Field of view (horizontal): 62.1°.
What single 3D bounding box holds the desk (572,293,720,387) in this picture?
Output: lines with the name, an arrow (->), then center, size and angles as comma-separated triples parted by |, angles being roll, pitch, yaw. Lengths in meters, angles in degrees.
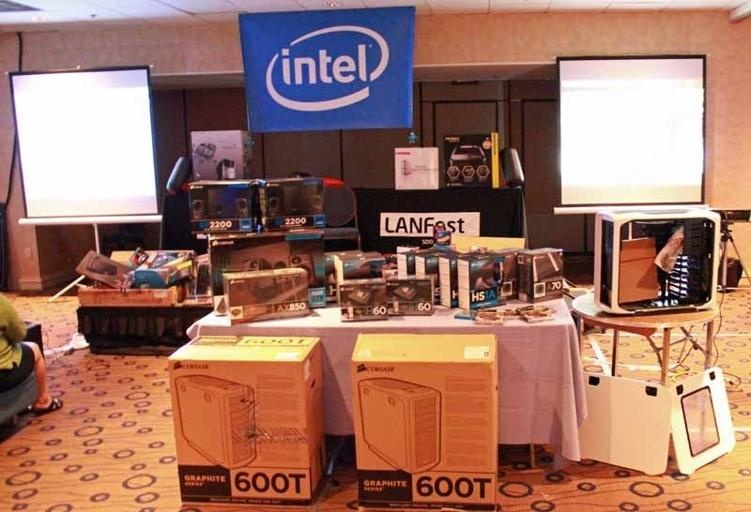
desk -> 2.072, 0.512, 4.734 | 1.052, 0.548, 1.002 | -1, 5, 4

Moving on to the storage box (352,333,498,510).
storage box -> 0.337, 1.093, 4.077 | 1.135, 1.201, 0.708 | 1, 11, 7

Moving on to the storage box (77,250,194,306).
storage box -> -2.462, 0.259, 6.450 | 0.920, 0.273, 0.635 | 0, 33, -1

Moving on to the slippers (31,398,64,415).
slippers -> -2.844, 1.292, 5.418 | 0.240, 0.056, 0.107 | -4, 13, -29

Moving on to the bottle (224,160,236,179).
bottle -> -1.524, -0.920, 6.546 | 0.145, 0.198, 0.088 | 3, 10, 27
